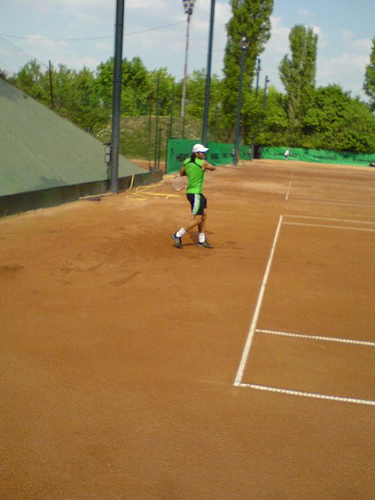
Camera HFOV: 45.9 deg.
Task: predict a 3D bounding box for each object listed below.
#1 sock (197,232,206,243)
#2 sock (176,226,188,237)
[{"bbox_3d":[0.291,-0.251,8.970,0.185,0.264,0.199,-2,7,-6],"label":"sock"},{"bbox_3d":[-0.136,-0.353,8.795,0.156,0.215,0.343,2,14,-3],"label":"sock"}]
